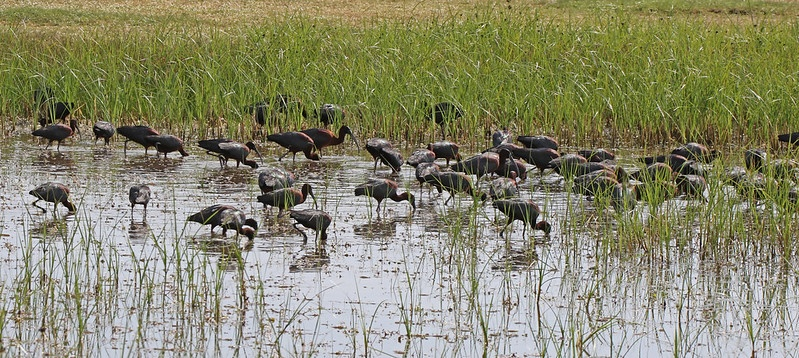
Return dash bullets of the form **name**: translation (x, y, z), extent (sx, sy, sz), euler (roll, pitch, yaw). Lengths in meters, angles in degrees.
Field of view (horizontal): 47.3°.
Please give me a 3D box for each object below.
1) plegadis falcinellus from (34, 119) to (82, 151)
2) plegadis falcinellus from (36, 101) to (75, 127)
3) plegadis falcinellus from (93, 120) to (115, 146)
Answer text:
- **plegadis falcinellus**: translation (-8.959, -1.201, 23.946), extent (1.166, 0.783, 0.433), euler (2, -12, -35)
- **plegadis falcinellus**: translation (-9.689, -1.863, 25.670), extent (0.584, 0.747, 1.259), euler (0, -18, -6)
- **plegadis falcinellus**: translation (-7.883, -1.233, 24.448), extent (0.546, 0.622, 0.457), euler (2, 22, 2)
